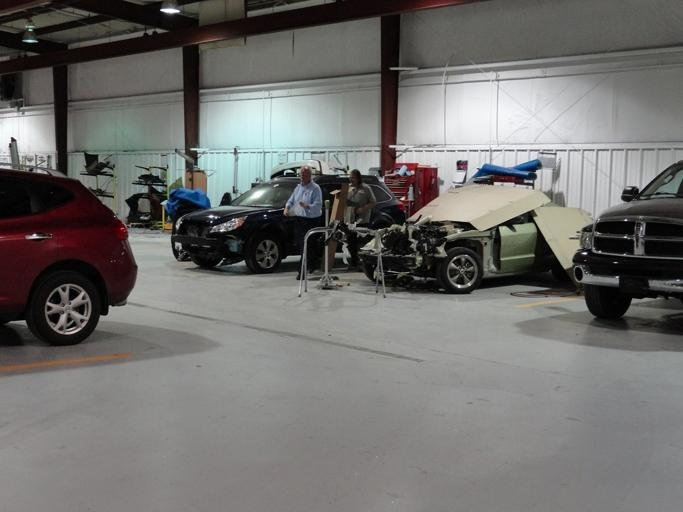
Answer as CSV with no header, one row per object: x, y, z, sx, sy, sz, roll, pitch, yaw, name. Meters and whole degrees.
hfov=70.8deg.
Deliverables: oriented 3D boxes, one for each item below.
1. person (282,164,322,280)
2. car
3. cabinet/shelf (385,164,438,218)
-0.737,-0.704,10.027,0.693,2.318,1.126,-2,8,-20,person
3.009,-0.416,9.518,3.499,1.960,1.459,-1,7,-11,car
1.902,-1.976,15.164,1.556,2.173,1.577,-2,4,-43,cabinet/shelf
